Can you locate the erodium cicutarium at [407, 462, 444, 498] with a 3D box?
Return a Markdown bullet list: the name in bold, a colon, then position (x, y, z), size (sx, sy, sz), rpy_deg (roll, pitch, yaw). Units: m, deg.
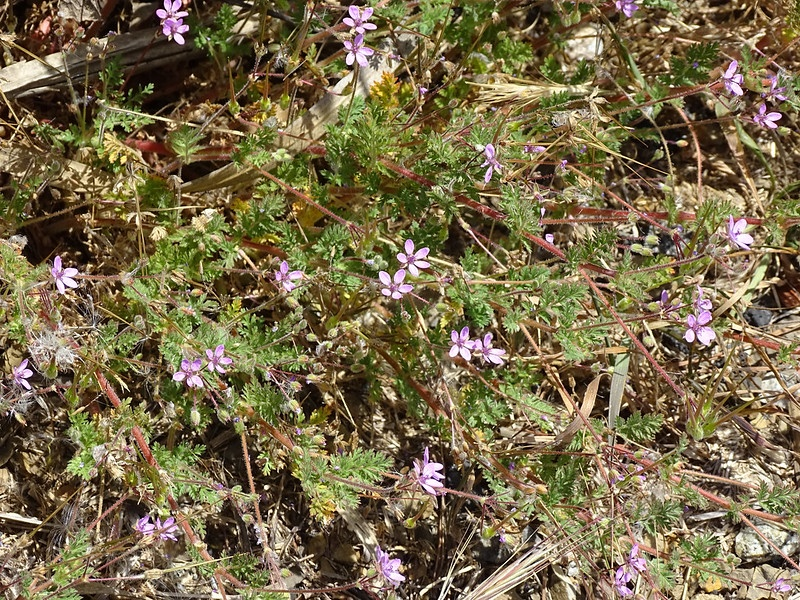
- **erodium cicutarium**: position (0.115, 0.743, 3.115), size (0.129, 0.114, 0.120), rpy_deg (9, 70, 0)
